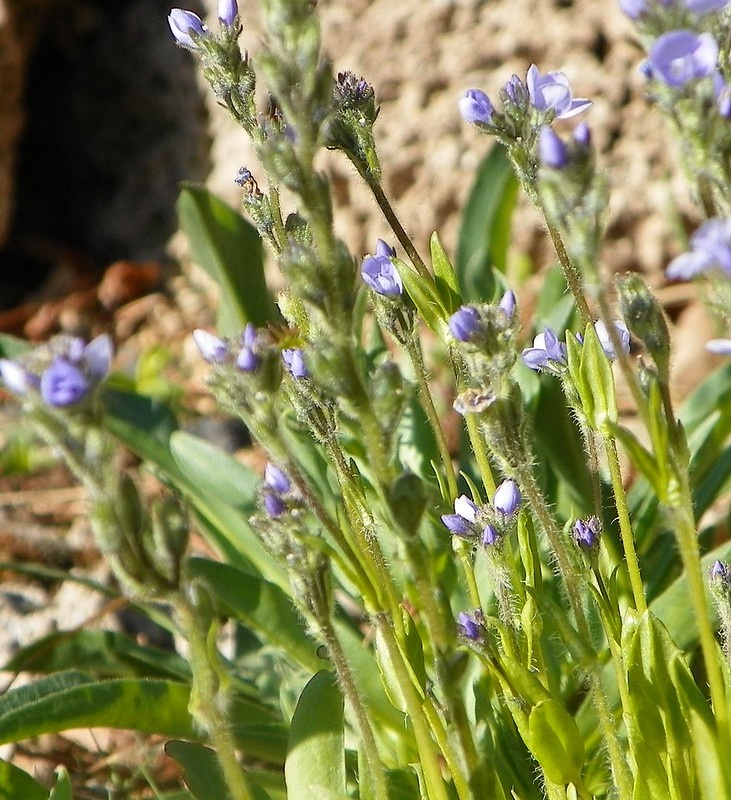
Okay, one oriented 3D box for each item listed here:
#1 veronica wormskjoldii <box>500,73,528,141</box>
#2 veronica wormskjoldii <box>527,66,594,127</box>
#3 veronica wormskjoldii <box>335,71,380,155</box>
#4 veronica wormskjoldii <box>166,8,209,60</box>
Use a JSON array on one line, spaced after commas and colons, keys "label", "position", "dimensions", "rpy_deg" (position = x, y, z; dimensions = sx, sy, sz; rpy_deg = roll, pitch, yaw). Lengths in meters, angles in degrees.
[{"label": "veronica wormskjoldii", "position": [0.186, -0.358, 1.443], "dimensions": [0.028, 0.097, 0.023], "rpy_deg": [12, 53, 24]}, {"label": "veronica wormskjoldii", "position": [0.230, -0.362, 1.460], "dimensions": [0.088, 0.073, 0.052], "rpy_deg": [13, 72, 21]}, {"label": "veronica wormskjoldii", "position": [-0.011, -0.367, 1.527], "dimensions": [0.043, 0.159, 0.047], "rpy_deg": [-13, 51, -3]}, {"label": "veronica wormskjoldii", "position": [-0.229, -0.477, 1.512], "dimensions": [0.026, 0.048, 0.080], "rpy_deg": [-7, 50, -31]}]
